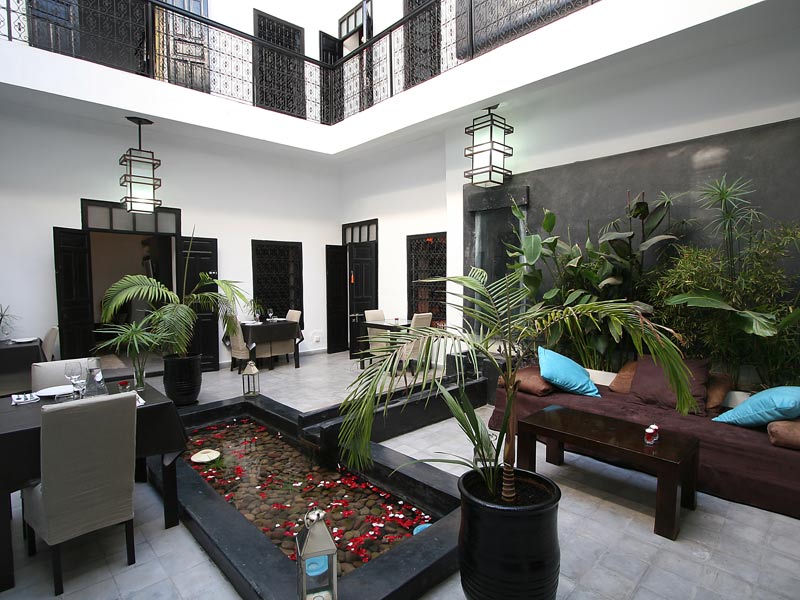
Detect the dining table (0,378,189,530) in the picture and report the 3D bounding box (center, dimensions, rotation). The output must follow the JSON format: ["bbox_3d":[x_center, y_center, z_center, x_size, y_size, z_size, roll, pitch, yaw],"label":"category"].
[{"bbox_3d":[-2.744,1.442,4.647,1.201,0.952,1.201,1,-2,-35],"label":"dining table"}]

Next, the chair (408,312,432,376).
[{"bbox_3d":[0.255,0.551,8.102,0.385,0.705,0.399,0,-12,31],"label":"chair"}]

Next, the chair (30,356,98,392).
[{"bbox_3d":[-3.274,0.659,5.029,0.457,0.381,0.452,-2,3,-42],"label":"chair"}]

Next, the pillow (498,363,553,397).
[{"bbox_3d":[1.447,0.932,6.065,0.630,0.212,0.649,5,18,42],"label":"pillow"}]

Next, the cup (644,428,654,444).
[{"bbox_3d":[2.196,1.206,4.557,0.097,0.122,0.100,2,0,0],"label":"cup"}]

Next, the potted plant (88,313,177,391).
[{"bbox_3d":[-3.068,0.667,6.151,0.774,0.835,0.947,5,9,21],"label":"potted plant"}]

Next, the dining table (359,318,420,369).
[{"bbox_3d":[-0.262,0.717,8.090,0.882,0.796,0.934,-14,-11,15],"label":"dining table"}]

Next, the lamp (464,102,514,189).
[{"bbox_3d":[1.319,-2.315,7.690,0.664,1.181,0.705,0,2,-15],"label":"lamp"}]

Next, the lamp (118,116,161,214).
[{"bbox_3d":[-4.012,-2.130,8.094,0.427,1.234,0.330,-3,10,-26],"label":"lamp"}]

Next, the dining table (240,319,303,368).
[{"bbox_3d":[-2.213,0.765,9.264,1.184,0.742,1.225,1,6,31],"label":"dining table"}]
